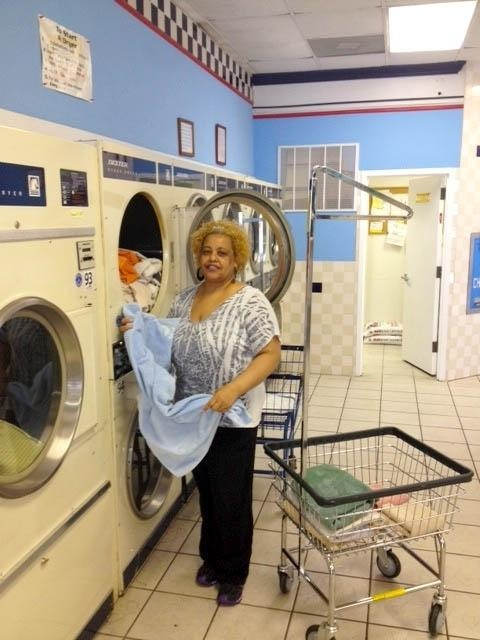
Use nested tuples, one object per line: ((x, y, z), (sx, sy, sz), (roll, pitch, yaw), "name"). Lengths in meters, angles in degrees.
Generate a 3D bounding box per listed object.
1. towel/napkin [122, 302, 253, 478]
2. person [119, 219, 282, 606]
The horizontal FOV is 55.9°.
((-0.158, 0.243, 1.527), (0.175, 0.622, 0.430), (-5, 8, -34), "towel/napkin")
((-0.103, 0.319, 1.582), (0.461, 1.334, 0.366), (4, 6, 39), "person")
